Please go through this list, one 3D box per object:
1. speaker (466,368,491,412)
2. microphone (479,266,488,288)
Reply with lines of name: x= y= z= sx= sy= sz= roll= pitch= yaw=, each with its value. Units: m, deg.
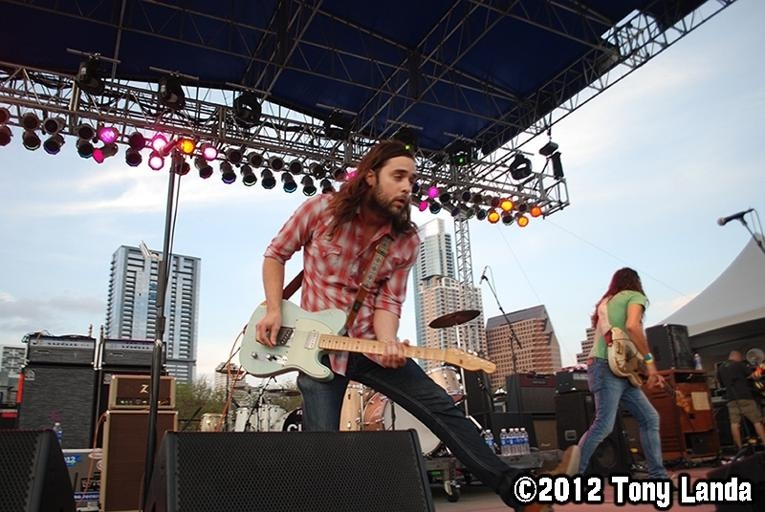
speaker: x=1.370 y=1.969 z=6.979 sx=0.342 sy=0.683 sz=0.173 roll=-7 pitch=-18 yaw=6
microphone: x=2.014 y=0.378 z=9.623 sx=0.147 sy=0.476 sz=0.094 roll=6 pitch=-46 yaw=7
